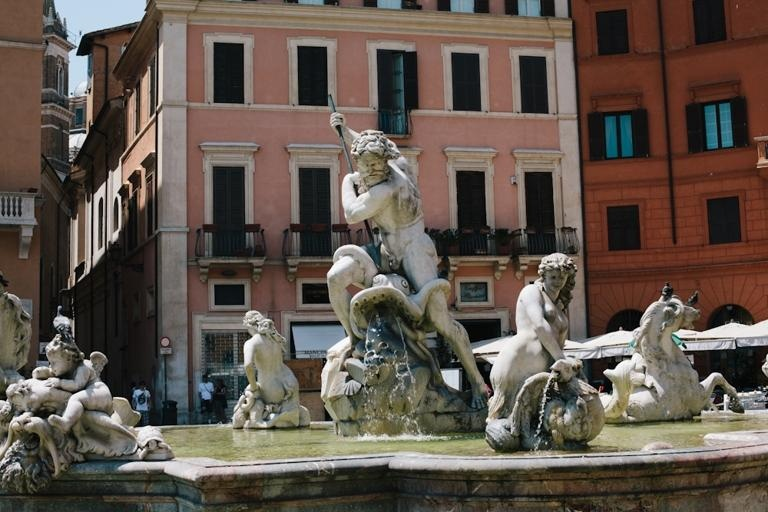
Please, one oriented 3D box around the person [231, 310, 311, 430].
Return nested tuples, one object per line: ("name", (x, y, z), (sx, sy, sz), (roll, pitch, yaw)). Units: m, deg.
("person", (-2.704, 2.727, 36.227), (1.253, 2.790, 0.864), (2, -9, -36))
